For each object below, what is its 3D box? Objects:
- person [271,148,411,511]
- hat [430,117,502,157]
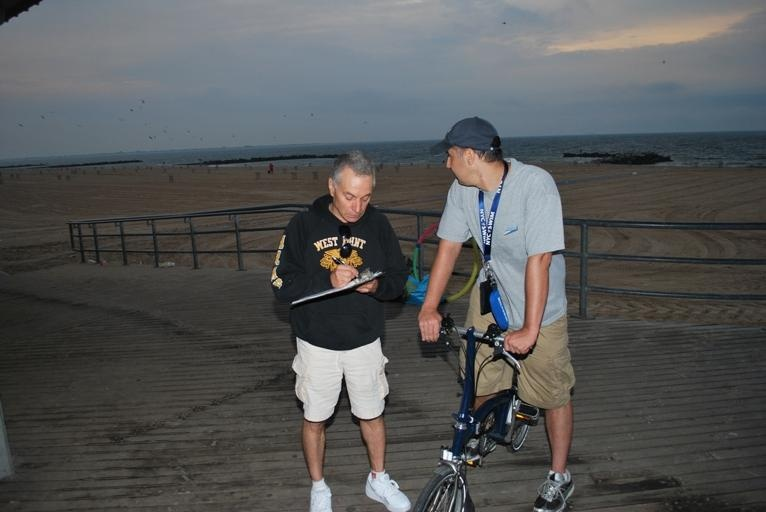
[{"bbox_3d":[-0.294,0.602,4.002,0.988,2.706,0.615,-1,11,-3],"label":"person"},{"bbox_3d":[0.584,-0.861,3.806,0.532,0.236,0.324,3,27,22],"label":"hat"}]
